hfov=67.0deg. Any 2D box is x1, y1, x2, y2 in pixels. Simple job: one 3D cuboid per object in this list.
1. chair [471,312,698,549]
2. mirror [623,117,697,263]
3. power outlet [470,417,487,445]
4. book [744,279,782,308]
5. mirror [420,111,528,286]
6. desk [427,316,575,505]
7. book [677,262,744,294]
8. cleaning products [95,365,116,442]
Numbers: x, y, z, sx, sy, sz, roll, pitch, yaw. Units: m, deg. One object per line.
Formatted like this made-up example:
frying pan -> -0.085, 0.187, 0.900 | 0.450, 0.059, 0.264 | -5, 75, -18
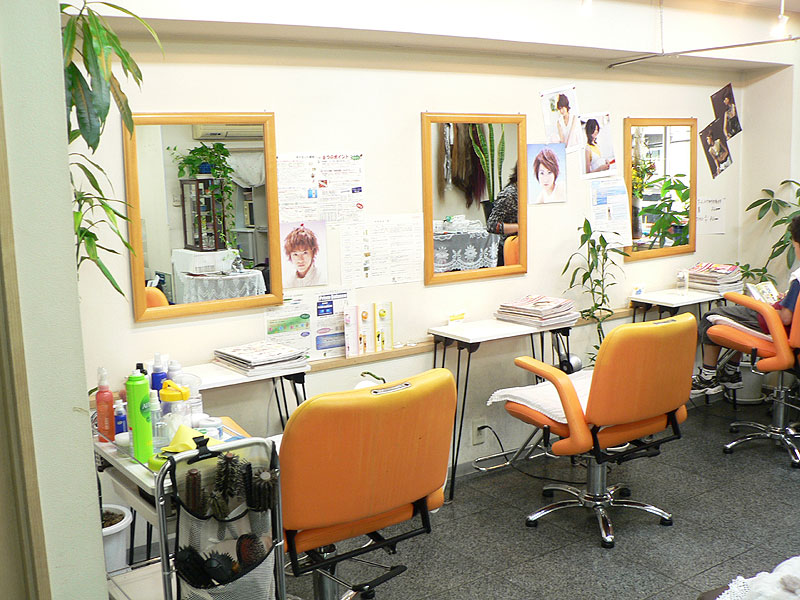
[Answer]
chair -> 1.123, 0.694, 3.452 | 0.790, 1.278, 0.786 | -9, 12, -28
mirror -> 2.168, -0.955, 5.076 | 1.279, 1.370, 0.049 | -6, 7, -33
power outlet -> 0.555, 0.925, 4.287 | 0.212, 0.214, 0.023 | -6, 10, -44
book -> 2.875, -0.051, 4.754 | 0.201, 0.187, 0.050 | -7, -26, -19
mirror -> 0.478, -0.723, 4.109 | 1.226, 1.500, 0.064 | -5, 7, -32
desk -> 0.618, 0.694, 3.762 | 1.182, 0.952, 0.412 | -6, 8, -38
book -> 2.585, -0.232, 5.019 | 0.343, 0.113, 0.327 | -11, 14, -38
cleaning products -> -1.190, 0.417, 2.427 | 0.076, 0.277, 0.184 | -9, 12, -27
